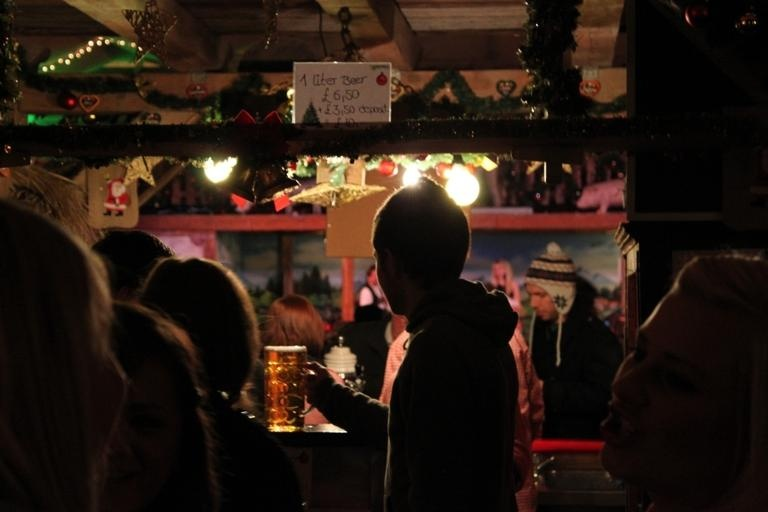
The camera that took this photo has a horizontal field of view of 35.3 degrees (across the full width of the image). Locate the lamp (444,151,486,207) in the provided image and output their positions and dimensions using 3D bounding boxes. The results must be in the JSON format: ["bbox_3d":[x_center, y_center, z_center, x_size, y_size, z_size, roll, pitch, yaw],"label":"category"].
[{"bbox_3d":[0.528,-0.466,7.163,0.307,0.423,0.305,-2,2,-9],"label":"lamp"}]

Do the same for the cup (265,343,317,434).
[{"bbox_3d":[-0.513,0.686,6.168,0.214,0.429,0.403,2,0,-5],"label":"cup"}]
